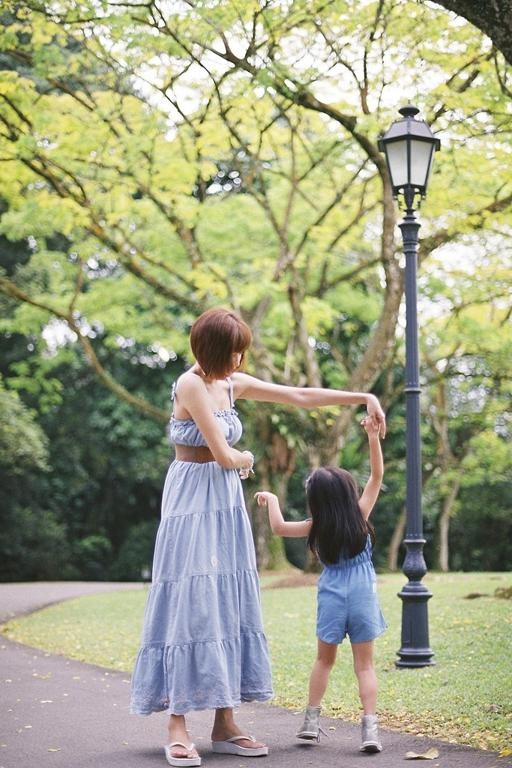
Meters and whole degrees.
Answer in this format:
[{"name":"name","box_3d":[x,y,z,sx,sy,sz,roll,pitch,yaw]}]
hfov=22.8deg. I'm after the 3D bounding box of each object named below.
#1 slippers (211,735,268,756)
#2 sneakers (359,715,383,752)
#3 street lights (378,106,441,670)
[{"name":"slippers","box_3d":[-0.090,2.041,7.175,0.314,0.099,0.111,-2,-14,9]},{"name":"sneakers","box_3d":[0.655,1.970,7.210,0.128,0.212,0.243,0,-7,4]},{"name":"street lights","box_3d":[1.210,-0.086,10.033,0.484,4.491,0.851,0,-7,7]}]
